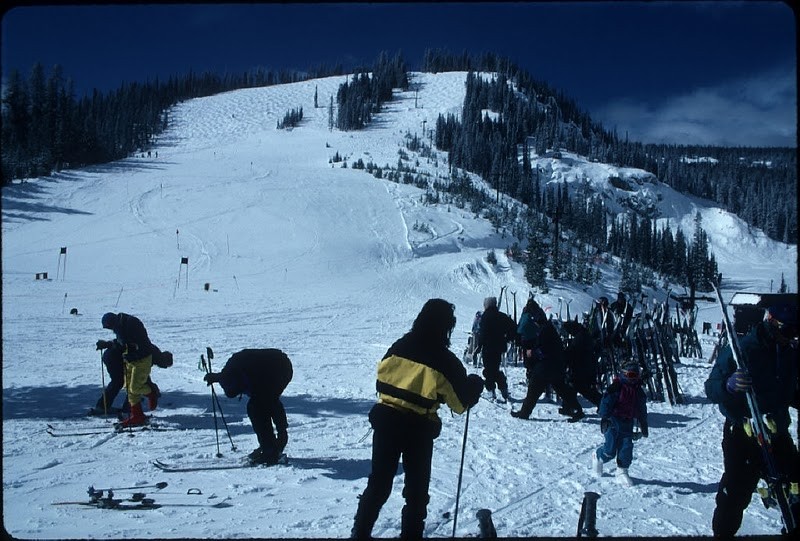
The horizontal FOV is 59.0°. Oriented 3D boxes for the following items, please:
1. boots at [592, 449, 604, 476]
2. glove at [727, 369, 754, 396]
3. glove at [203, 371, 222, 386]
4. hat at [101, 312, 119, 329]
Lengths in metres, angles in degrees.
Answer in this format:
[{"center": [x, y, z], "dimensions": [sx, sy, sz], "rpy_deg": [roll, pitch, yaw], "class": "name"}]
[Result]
[{"center": [5.204, 5.044, 18.566], "dimensions": [0.224, 0.727, 0.286], "rpy_deg": [-7, -11, 22], "class": "boots"}, {"center": [7.822, 2.541, 16.232], "dimensions": [0.531, 0.555, 0.168], "rpy_deg": [2, 5, -2], "class": "glove"}, {"center": [-4.875, 2.810, 18.489], "dimensions": [0.495, 0.393, 0.224], "rpy_deg": [-7, -2, 22], "class": "glove"}, {"center": [-8.226, 1.432, 20.027], "dimensions": [0.342, 0.454, 0.791], "rpy_deg": [-2, 7, -35], "class": "hat"}]
